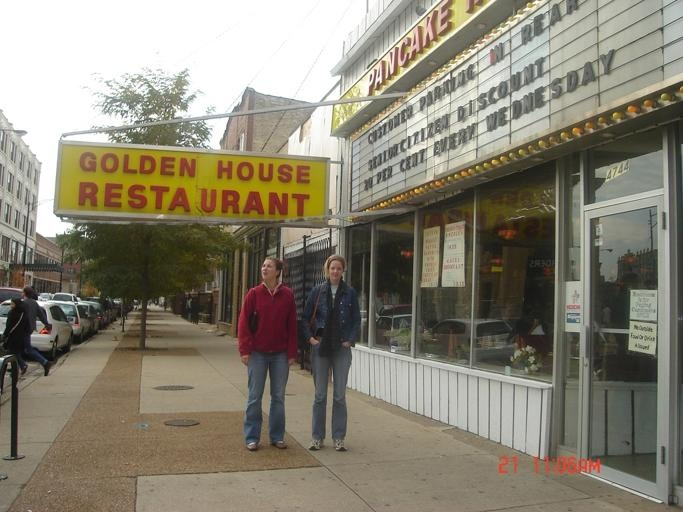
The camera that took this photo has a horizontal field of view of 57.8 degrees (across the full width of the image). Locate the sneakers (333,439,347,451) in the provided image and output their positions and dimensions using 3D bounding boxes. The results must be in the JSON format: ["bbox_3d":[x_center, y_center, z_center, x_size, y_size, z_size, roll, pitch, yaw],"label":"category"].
[{"bbox_3d":[-0.012,2.234,7.366,0.154,0.133,0.188,1,-2,-1],"label":"sneakers"}]

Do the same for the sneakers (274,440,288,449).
[{"bbox_3d":[-0.731,2.235,7.361,0.160,0.076,0.151,1,-2,-8],"label":"sneakers"}]

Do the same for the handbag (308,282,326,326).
[{"bbox_3d":[-0.348,0.578,7.548,0.100,0.430,0.308,24,-2,20],"label":"handbag"}]

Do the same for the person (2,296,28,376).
[{"bbox_3d":[-6.632,1.452,12.456,0.530,1.219,0.307,0,-2,9],"label":"person"}]

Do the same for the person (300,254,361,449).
[{"bbox_3d":[-0.128,1.141,7.508,0.679,2.316,0.348,1,-2,-4],"label":"person"}]

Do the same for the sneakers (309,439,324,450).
[{"bbox_3d":[-0.285,2.235,7.356,0.220,0.106,0.108,3,-3,-41],"label":"sneakers"}]

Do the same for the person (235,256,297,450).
[{"bbox_3d":[-0.880,1.142,7.409,0.691,2.252,0.377,1,-2,-5],"label":"person"}]

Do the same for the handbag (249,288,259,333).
[{"bbox_3d":[-1.044,0.762,7.364,0.110,0.290,0.076,1,-2,-10],"label":"handbag"}]

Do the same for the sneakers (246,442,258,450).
[{"bbox_3d":[-1.038,2.211,7.232,0.141,0.081,0.116,1,-2,-11],"label":"sneakers"}]
